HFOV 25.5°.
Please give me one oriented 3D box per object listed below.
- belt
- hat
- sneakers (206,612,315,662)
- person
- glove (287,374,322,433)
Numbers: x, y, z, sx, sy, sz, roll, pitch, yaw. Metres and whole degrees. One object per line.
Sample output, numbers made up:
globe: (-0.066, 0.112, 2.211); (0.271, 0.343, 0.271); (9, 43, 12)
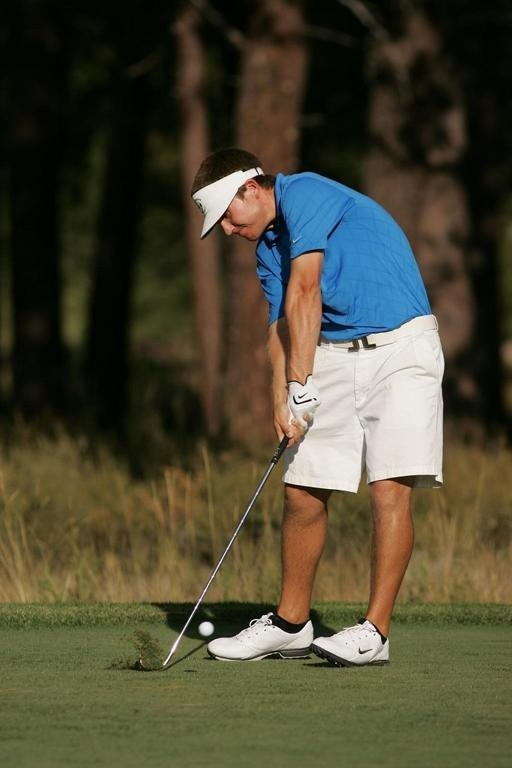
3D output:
belt: (0.474, -0.174, 3.702); (0.167, 0.043, 0.188); (-18, 2, 41)
hat: (-0.095, -0.595, 3.691); (0.223, 0.255, 0.185); (7, 7, -5)
sneakers: (0.022, 0.809, 3.686); (0.398, 0.173, 0.131); (3, -5, -20)
person: (0.200, 0.089, 3.744); (0.883, 1.657, 0.651); (9, 7, 8)
glove: (0.160, 0.058, 3.608); (0.103, 0.160, 0.054); (-3, 8, -4)
